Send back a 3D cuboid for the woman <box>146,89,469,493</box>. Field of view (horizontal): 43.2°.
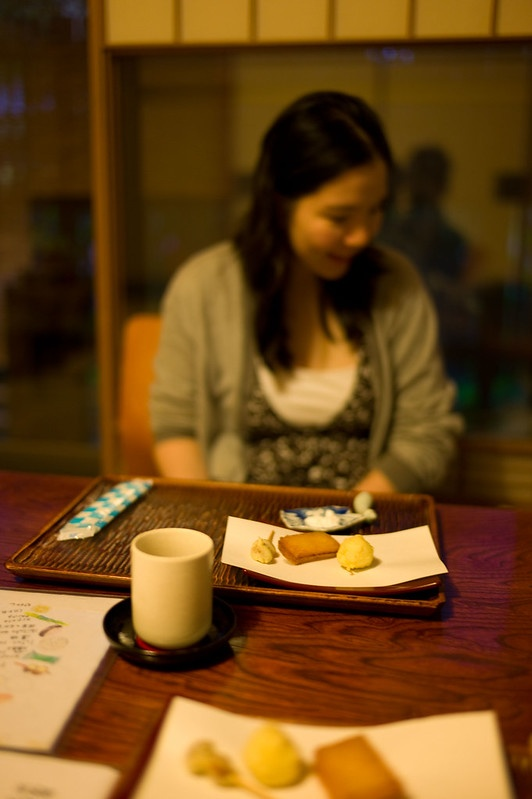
[{"bbox_3d":[0.135,-0.332,1.806,0.839,1.066,0.621,-8,25,-14],"label":"woman"}]

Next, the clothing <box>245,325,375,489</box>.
[{"bbox_3d":[0.102,-0.009,2.053,0.508,0.633,0.346,1,4,6],"label":"clothing"}]

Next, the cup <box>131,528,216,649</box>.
[{"bbox_3d":[-0.095,0.216,0.807,0.122,0.127,0.119,0,8,0],"label":"cup"}]

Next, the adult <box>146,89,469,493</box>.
[{"bbox_3d":[0.135,-0.332,1.806,0.839,1.066,0.621,-8,25,-14],"label":"adult"}]
